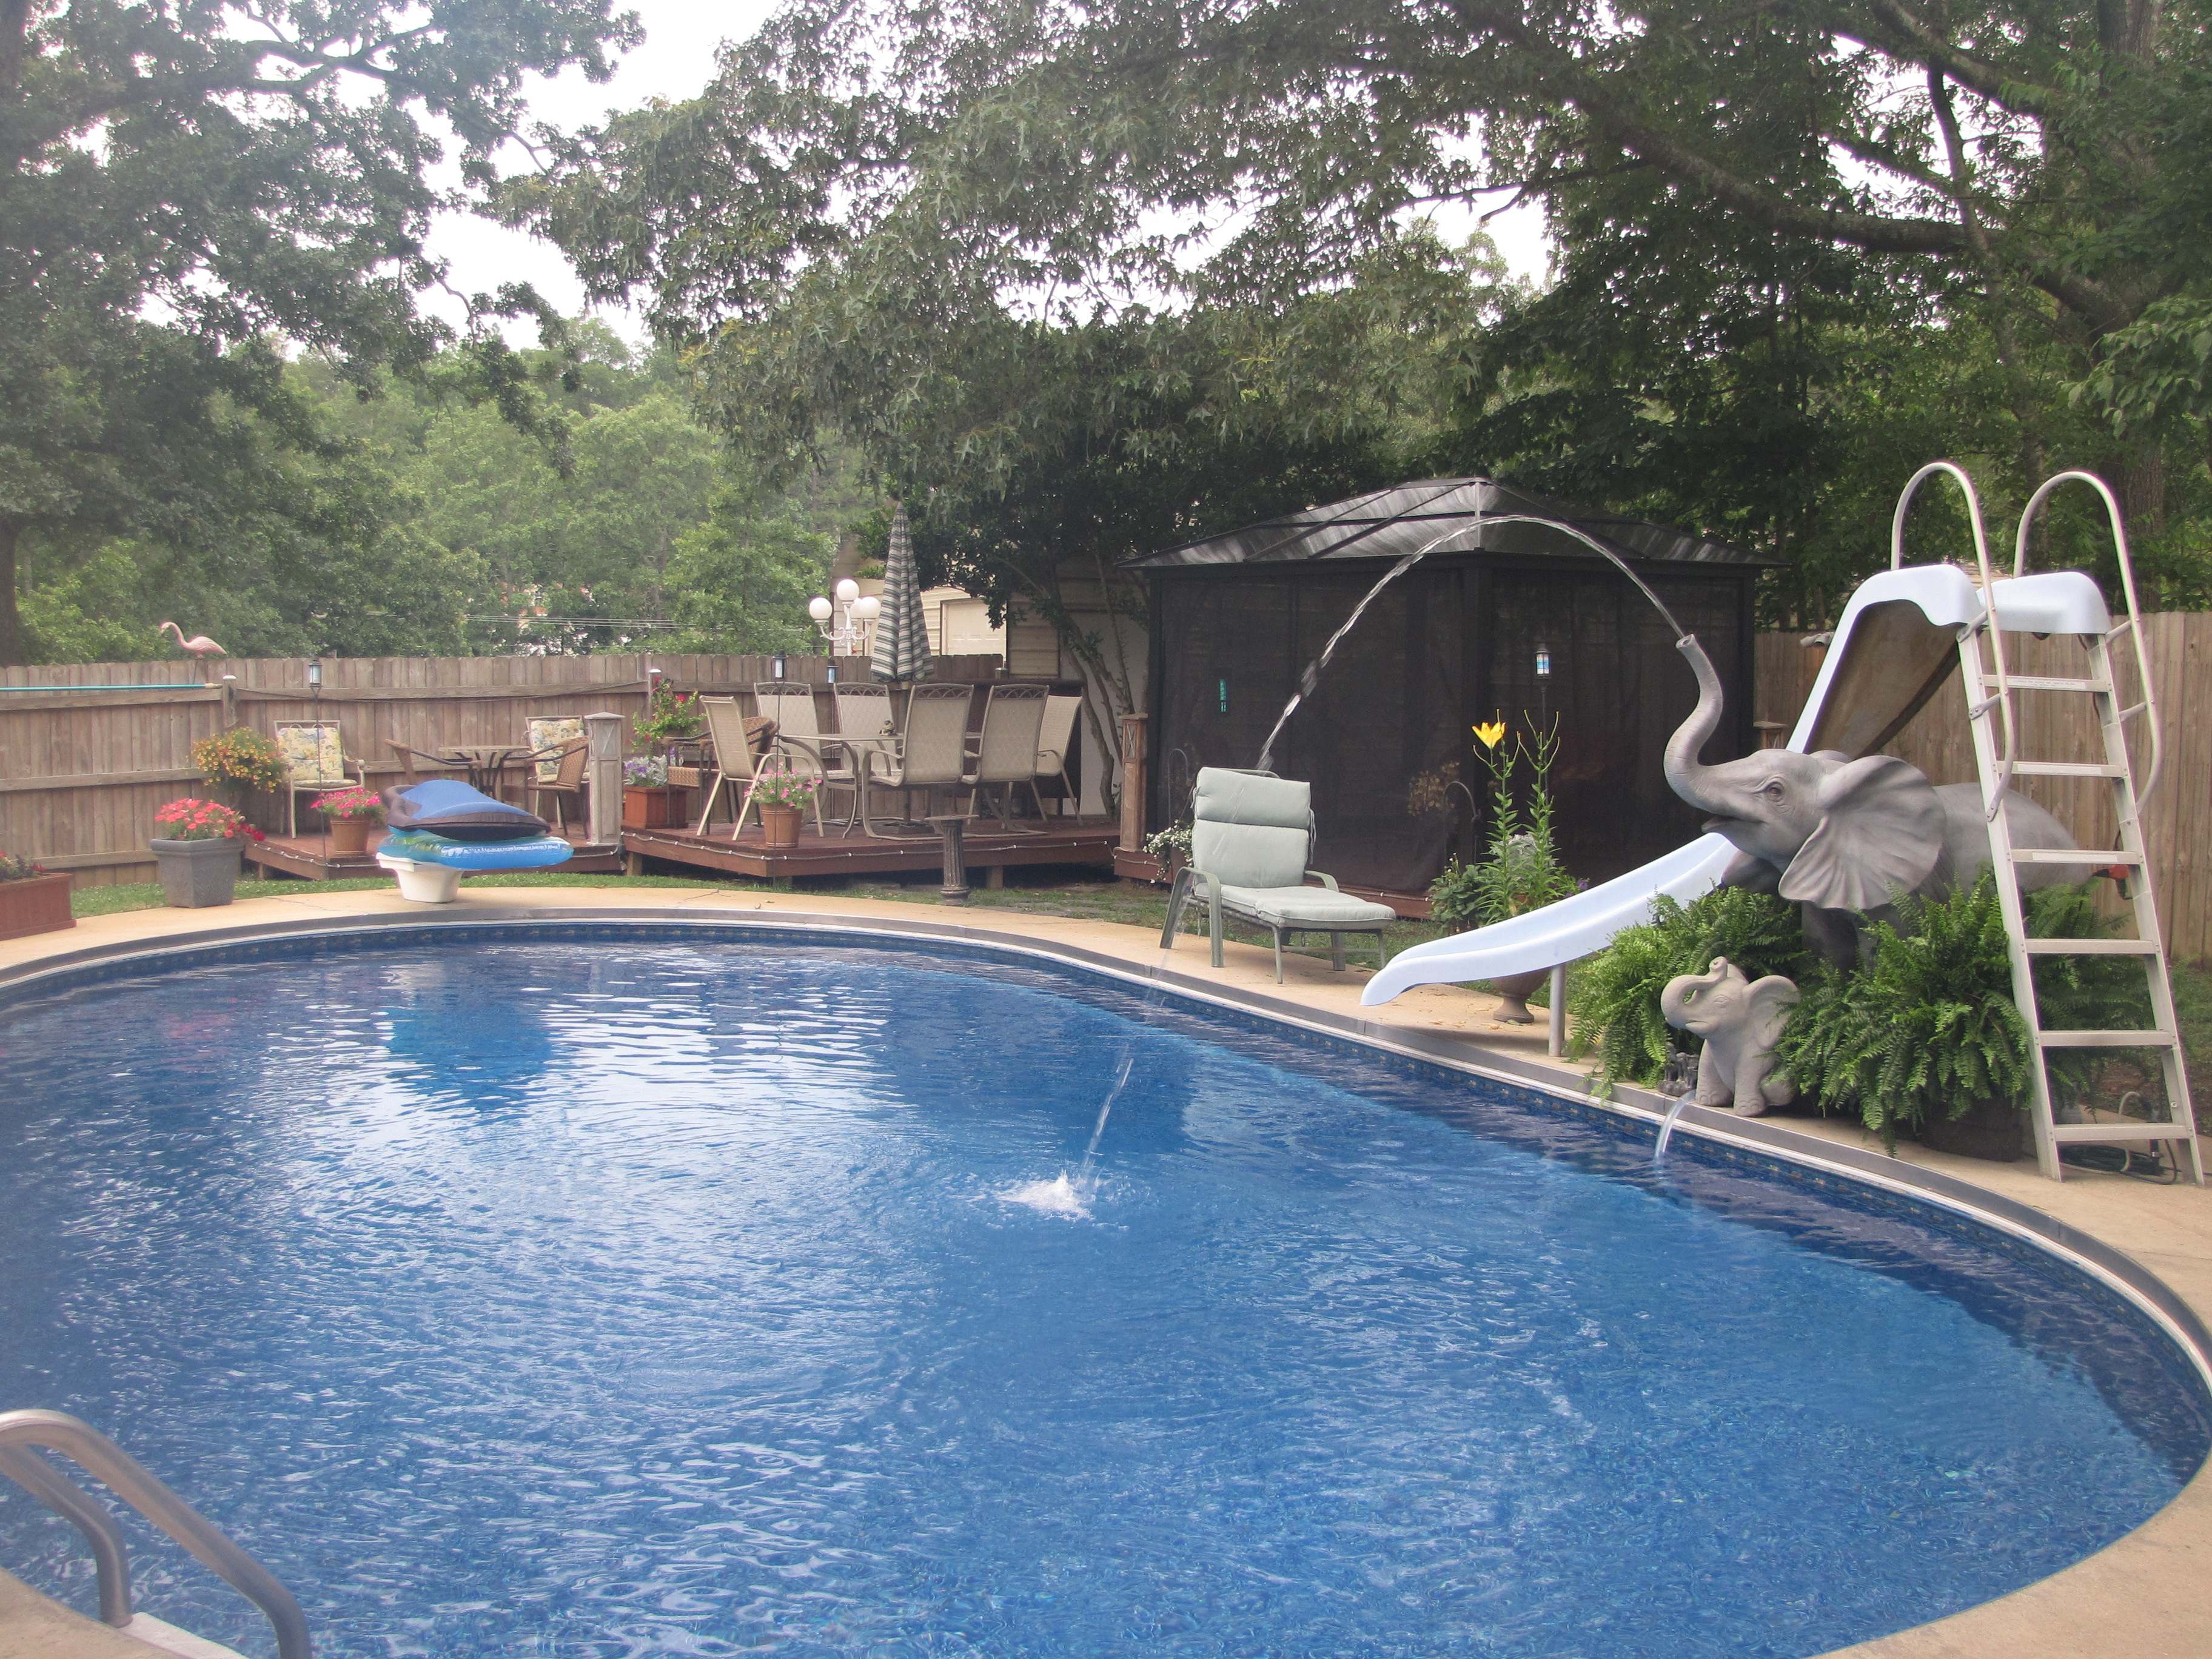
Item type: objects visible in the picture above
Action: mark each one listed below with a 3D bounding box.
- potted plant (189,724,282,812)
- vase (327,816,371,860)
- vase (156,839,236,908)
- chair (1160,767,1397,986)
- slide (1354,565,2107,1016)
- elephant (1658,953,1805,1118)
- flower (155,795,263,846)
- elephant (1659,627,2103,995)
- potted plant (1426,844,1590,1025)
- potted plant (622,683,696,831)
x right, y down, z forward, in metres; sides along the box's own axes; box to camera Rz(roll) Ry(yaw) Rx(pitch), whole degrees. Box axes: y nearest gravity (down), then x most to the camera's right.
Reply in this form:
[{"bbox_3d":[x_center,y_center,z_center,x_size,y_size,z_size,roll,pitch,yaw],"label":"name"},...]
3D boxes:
[{"bbox_3d":[-8.254,-0.632,19.192,0.864,0.975,0.874,-3,6,-35],"label":"potted plant"},{"bbox_3d":[-7.052,0.078,18.631,0.338,0.384,0.352,1,0,14],"label":"vase"},{"bbox_3d":[-7.646,0.309,16.794,0.630,0.570,0.526,-1,4,-43],"label":"vase"},{"bbox_3d":[1.191,0.307,13.865,1.162,1.463,1.679,-1,5,-29],"label":"chair"},{"bbox_3d":[3.802,-0.253,12.842,4.499,1.922,1.241,-25,12,20],"label":"slide"},{"bbox_3d":[3.262,1.031,10.383,0.522,0.839,0.663,-6,11,-30],"label":"elephant"},{"bbox_3d":[-7.745,-0.112,16.947,0.724,0.359,0.738,9,3,38],"label":"flower"},{"bbox_3d":[4.072,-0.019,10.254,2.155,1.678,0.821,2,9,9],"label":"elephant"},{"bbox_3d":[2.753,0.610,13.313,0.858,1.238,0.767,-1,7,-22],"label":"potted plant"},{"bbox_3d":[-4.742,-0.720,21.202,0.631,1.641,1.570,0,2,-12],"label":"potted plant"}]
